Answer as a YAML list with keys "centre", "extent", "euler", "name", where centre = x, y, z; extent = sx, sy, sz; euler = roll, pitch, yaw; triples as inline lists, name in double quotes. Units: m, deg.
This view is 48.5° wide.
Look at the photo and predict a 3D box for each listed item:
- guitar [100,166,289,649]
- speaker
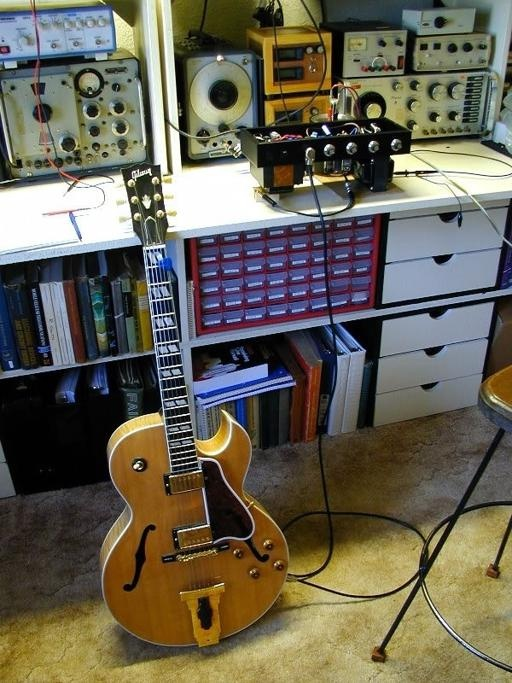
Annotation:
- centre: [-0.189, 0.161, 1.100]
  extent: [0.355, 0.900, 0.389]
  euler: [-15, 31, -22]
  name: "guitar"
- centre: [-0.106, -0.653, 1.553]
  extent: [0.197, 0.257, 0.334]
  euler: [-4, 28, -7]
  name: "speaker"
